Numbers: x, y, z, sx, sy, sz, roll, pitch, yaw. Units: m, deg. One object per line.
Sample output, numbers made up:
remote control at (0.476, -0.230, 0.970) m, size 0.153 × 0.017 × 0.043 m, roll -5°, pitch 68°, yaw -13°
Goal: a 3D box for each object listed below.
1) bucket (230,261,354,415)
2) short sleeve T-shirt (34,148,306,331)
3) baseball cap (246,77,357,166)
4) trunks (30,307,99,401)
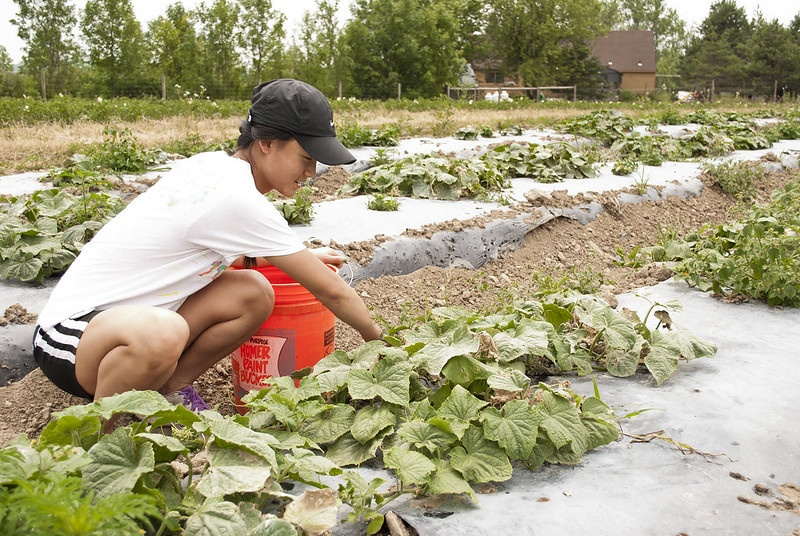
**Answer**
bucket at (-0.662, 0.345, 3.928) m, size 0.817 × 0.866 × 0.797 m, roll 0°, pitch 11°, yaw 0°
short sleeve T-shirt at (-1.199, -0.164, 3.307) m, size 1.250 × 0.683 × 0.796 m, roll -6°, pitch 18°, yaw -12°
baseball cap at (-0.507, -0.791, 3.300) m, size 0.675 × 0.349 × 0.432 m, roll 20°, pitch 21°, yaw 15°
trunks at (-1.700, 0.417, 3.353) m, size 0.362 × 0.464 × 0.214 m, roll 11°, pitch 25°, yaw 8°
